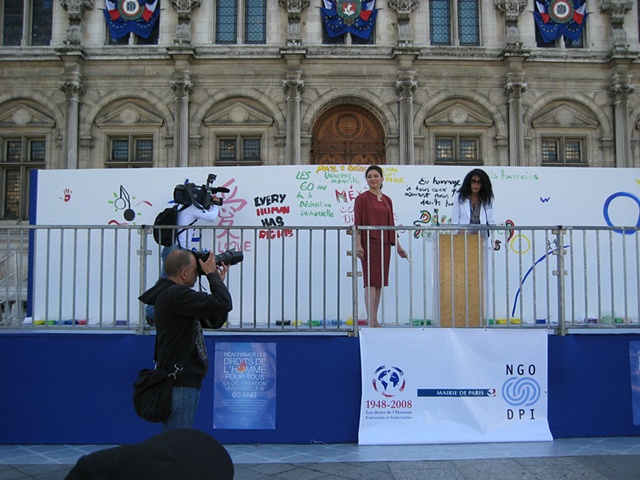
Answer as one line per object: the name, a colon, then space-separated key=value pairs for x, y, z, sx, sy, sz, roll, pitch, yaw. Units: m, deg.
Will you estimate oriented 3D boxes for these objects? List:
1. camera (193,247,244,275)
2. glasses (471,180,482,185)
camera: x=-2.281 y=0.464 z=27.431 sx=0.952 sy=0.468 sz=0.544 roll=-5 pitch=-5 yaw=-10
glasses: x=3.918 y=-1.473 z=30.469 sx=0.218 sy=0.111 sz=0.045 roll=-1 pitch=-1 yaw=10
